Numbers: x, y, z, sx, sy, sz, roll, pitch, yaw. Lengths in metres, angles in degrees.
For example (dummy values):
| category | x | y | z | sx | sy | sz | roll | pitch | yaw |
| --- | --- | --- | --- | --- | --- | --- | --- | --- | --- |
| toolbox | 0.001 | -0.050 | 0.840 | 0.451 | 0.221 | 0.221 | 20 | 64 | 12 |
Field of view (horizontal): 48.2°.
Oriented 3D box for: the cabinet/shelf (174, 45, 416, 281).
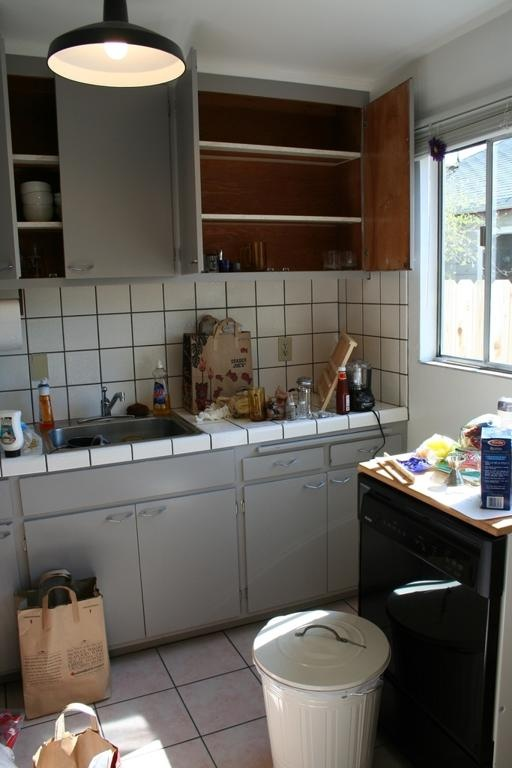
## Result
| category | x | y | z | sx | sy | sz | roll | pitch | yaw |
| --- | --- | --- | --- | --- | --- | --- | --- | --- | --- |
| cabinet/shelf | 0.143 | -0.848 | 2.414 | 0.950 | 0.936 | 0.687 | -5 | 5 | -22 |

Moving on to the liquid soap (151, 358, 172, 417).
| category | x | y | z | sx | sy | sz | roll | pitch | yaw |
| --- | --- | --- | --- | --- | --- | --- | --- | --- | --- |
| liquid soap | -0.431 | 0.015 | 2.590 | 0.074 | 0.229 | 0.174 | -2 | 6 | -8 |

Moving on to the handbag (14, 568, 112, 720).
| category | x | y | z | sx | sy | sz | roll | pitch | yaw |
| --- | --- | --- | --- | --- | --- | --- | --- | --- | --- |
| handbag | -0.644 | 0.852 | 1.916 | 0.274 | 0.445 | 0.248 | -4 | 7 | -25 |

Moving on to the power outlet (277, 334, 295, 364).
| category | x | y | z | sx | sy | sz | roll | pitch | yaw |
| --- | --- | --- | --- | --- | --- | --- | --- | --- | --- |
| power outlet | 0.150 | -0.174 | 2.929 | 0.094 | 0.140 | 0.016 | -4 | 6 | -24 |

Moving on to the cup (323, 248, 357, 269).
| category | x | y | z | sx | sy | sz | roll | pitch | yaw |
| --- | --- | --- | --- | --- | --- | --- | --- | --- | --- |
| cup | 0.388 | -0.559 | 2.637 | 0.100 | 0.078 | 0.103 | 1 | 7 | 0 |

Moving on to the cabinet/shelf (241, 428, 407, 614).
| category | x | y | z | sx | sy | sz | roll | pitch | yaw |
| --- | --- | --- | --- | --- | --- | --- | --- | --- | --- |
| cabinet/shelf | 0.222 | 0.504 | 2.141 | 0.651 | 0.670 | 0.276 | -5 | 8 | -26 |

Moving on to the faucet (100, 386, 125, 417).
| category | x | y | z | sx | sy | sz | roll | pitch | yaw |
| --- | --- | --- | --- | --- | --- | --- | --- | --- | --- |
| faucet | -0.634 | 0.078 | 2.510 | 0.092 | 0.125 | 0.168 | -3 | 6 | -16 |

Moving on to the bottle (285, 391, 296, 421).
| category | x | y | z | sx | sy | sz | roll | pitch | yaw |
| --- | --- | --- | --- | --- | --- | --- | --- | --- | --- |
| bottle | 0.148 | 0.097 | 2.397 | 0.049 | 0.100 | 0.095 | -1 | 6 | 3 |

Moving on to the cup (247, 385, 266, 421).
| category | x | y | z | sx | sy | sz | roll | pitch | yaw |
| --- | --- | --- | --- | --- | --- | --- | --- | --- | --- |
| cup | 0.006 | 0.087 | 2.407 | 0.072 | 0.135 | 0.067 | -2 | 6 | 0 |

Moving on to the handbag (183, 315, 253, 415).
| category | x | y | z | sx | sy | sz | roll | pitch | yaw |
| --- | --- | --- | --- | --- | --- | --- | --- | --- | --- |
| handbag | -0.158 | -0.127 | 2.634 | 0.299 | 0.463 | 0.164 | -8 | 30 | -22 |

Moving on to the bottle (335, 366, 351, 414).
| category | x | y | z | sx | sy | sz | roll | pitch | yaw |
| --- | --- | --- | --- | --- | --- | --- | --- | --- | --- |
| bottle | 0.377 | 0.027 | 2.472 | 0.060 | 0.195 | 0.132 | -1 | 6 | 10 |

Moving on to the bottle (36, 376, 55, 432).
| category | x | y | z | sx | sy | sz | roll | pitch | yaw |
| --- | --- | --- | --- | --- | --- | --- | --- | --- | --- |
| bottle | -0.854 | 0.090 | 2.320 | 0.055 | 0.196 | 0.066 | -6 | 7 | -38 |

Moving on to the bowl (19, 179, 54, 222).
| category | x | y | z | sx | sy | sz | roll | pitch | yaw |
| --- | --- | --- | --- | --- | --- | --- | --- | --- | --- |
| bowl | -0.789 | -0.654 | 2.061 | 0.105 | 0.156 | 0.144 | -2 | 12 | -4 |

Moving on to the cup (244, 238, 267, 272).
| category | x | y | z | sx | sy | sz | roll | pitch | yaw |
| --- | --- | --- | --- | --- | --- | --- | --- | --- | --- |
| cup | 0.004 | -0.545 | 2.440 | 0.115 | 0.149 | 0.123 | 0 | 10 | 0 |

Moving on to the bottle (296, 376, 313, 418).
| category | x | y | z | sx | sy | sz | roll | pitch | yaw |
| --- | --- | --- | --- | --- | --- | --- | --- | --- | --- |
| bottle | 0.212 | 0.054 | 2.489 | 0.058 | 0.155 | 0.213 | -1 | 6 | 4 |

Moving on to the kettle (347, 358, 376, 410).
| category | x | y | z | sx | sy | sz | roll | pitch | yaw |
| --- | --- | --- | --- | --- | --- | --- | --- | --- | --- |
| kettle | 0.469 | 0.005 | 2.553 | 0.113 | 0.211 | 0.226 | -1 | 6 | 9 |
